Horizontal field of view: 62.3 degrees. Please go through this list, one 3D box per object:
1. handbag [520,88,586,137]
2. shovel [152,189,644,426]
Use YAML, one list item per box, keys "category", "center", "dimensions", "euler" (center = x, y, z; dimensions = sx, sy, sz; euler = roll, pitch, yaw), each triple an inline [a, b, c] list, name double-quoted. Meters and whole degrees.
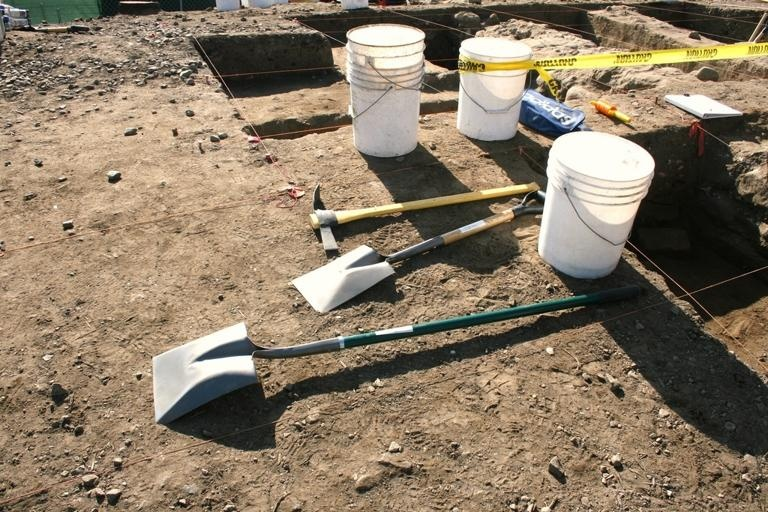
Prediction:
- category: "handbag"
  center: [2.051, -1.703, 7.708]
  dimensions: [0.522, 0.262, 0.932]
  euler: [-37, 45, -10]
- category: "shovel"
  center: [-0.253, 0.471, 5.784]
  dimensions: [4.057, 0.612, 1.278]
  euler: [-12, 40, -15]
